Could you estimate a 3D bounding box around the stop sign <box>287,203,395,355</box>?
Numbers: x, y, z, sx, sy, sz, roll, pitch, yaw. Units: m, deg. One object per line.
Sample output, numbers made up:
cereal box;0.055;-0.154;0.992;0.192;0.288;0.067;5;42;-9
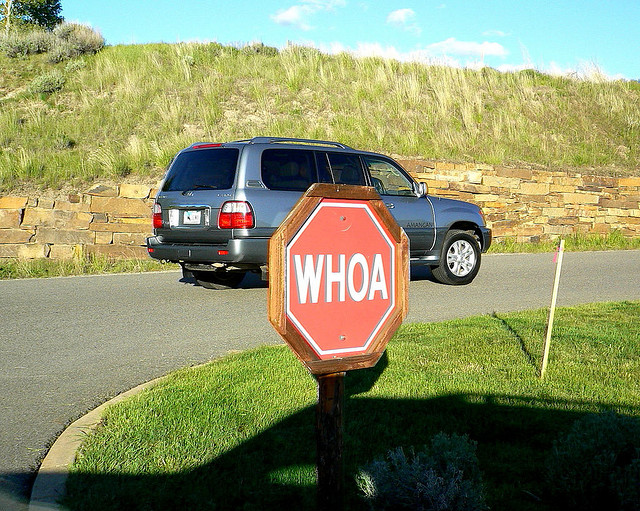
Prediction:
stop sign;0.122;0.130;3.306;0.737;1.004;0.041;-1;5;-14
